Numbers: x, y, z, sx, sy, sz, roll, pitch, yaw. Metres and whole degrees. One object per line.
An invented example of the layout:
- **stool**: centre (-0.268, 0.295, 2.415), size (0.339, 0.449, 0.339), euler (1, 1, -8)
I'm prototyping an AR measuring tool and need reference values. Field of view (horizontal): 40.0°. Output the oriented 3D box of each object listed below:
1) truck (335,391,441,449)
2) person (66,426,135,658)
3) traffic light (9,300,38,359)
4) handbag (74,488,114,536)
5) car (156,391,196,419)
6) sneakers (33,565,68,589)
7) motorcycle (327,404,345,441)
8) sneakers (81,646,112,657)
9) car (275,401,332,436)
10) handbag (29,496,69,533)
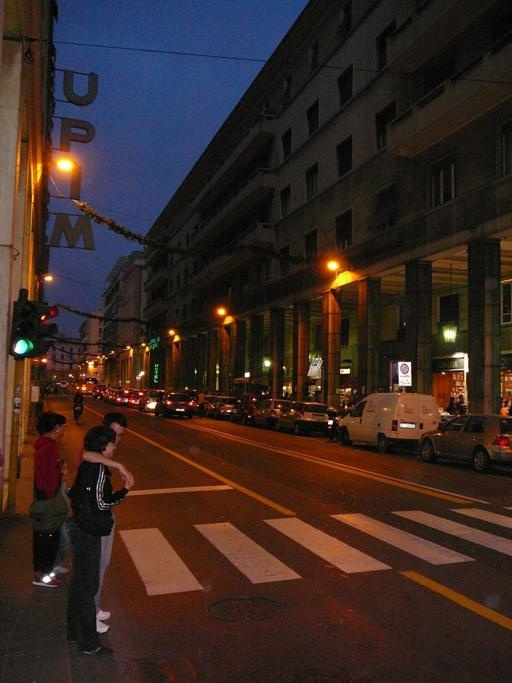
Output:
- **truck**: centre (3.989, 2.392, 21.793), size (1.567, 1.323, 3.020), euler (2, -3, -15)
- **person**: centre (-1.094, 1.452, 4.802), size (0.404, 1.269, 0.322), euler (1, -3, -6)
- **traffic light**: centre (-2.871, -0.157, 8.697), size (0.436, 0.757, 0.277), euler (-2, -4, 34)
- **handbag**: centre (-1.118, 1.185, 4.815), size (0.288, 0.297, 0.237), euler (1, -3, -14)
- **car**: centre (-4.646, 3.710, 40.418), size (1.249, 1.049, 2.163), euler (2, -2, -18)
- **sneakers**: centre (-1.818, 2.147, 6.403), size (0.120, 0.138, 0.322), euler (-1, -4, 37)
- **motorcycle**: centre (3.072, 3.369, 27.290), size (0.752, 0.691, 1.507), euler (-1, 0, 11)
- **sneakers**: centre (-1.049, 2.045, 4.645), size (0.191, 0.078, 0.078), euler (2, -7, -6)
- **car**: centre (2.105, 3.220, 29.068), size (1.202, 0.941, 2.060), euler (2, -1, -20)
- **handbag**: centre (-1.854, 1.547, 6.314), size (0.323, 0.332, 0.184), euler (2, -3, -19)
